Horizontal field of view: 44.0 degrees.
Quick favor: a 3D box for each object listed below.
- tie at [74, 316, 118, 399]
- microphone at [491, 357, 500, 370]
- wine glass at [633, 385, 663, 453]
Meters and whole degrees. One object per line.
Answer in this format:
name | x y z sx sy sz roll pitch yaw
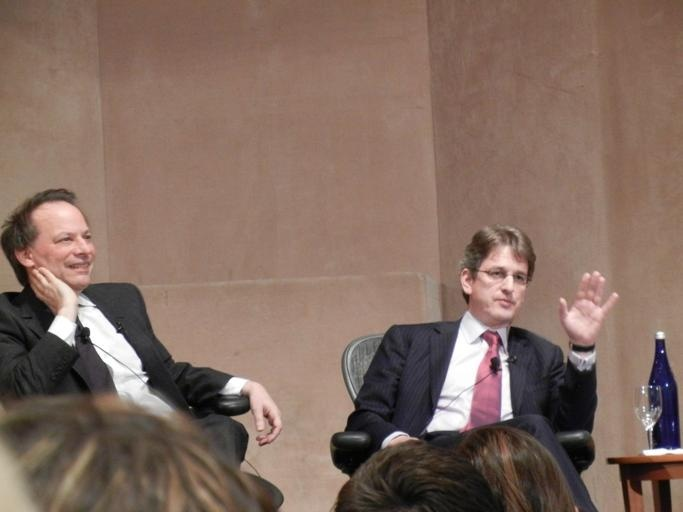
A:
tie | -0.897 0.373 3.063 0.074 0.216 0.154 -38 -18 17
microphone | 0.611 0.421 3.391 0.028 0.036 0.046 7 -8 -3
wine glass | 1.211 0.633 3.316 0.094 0.242 0.184 -3 -11 30
